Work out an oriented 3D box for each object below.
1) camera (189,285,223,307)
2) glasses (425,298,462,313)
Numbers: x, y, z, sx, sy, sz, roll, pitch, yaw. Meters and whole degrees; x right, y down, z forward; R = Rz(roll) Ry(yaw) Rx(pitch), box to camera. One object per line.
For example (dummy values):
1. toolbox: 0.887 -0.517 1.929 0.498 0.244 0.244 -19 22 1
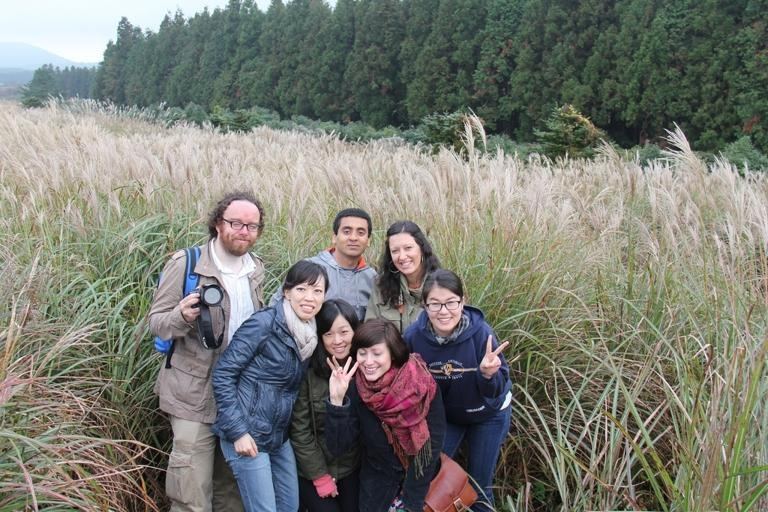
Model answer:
1. camera: -1.325 0.293 4.152 0.153 0.108 0.167 -12 2 -40
2. glasses: 0.477 0.386 4.260 0.261 0.106 0.056 2 13 0
